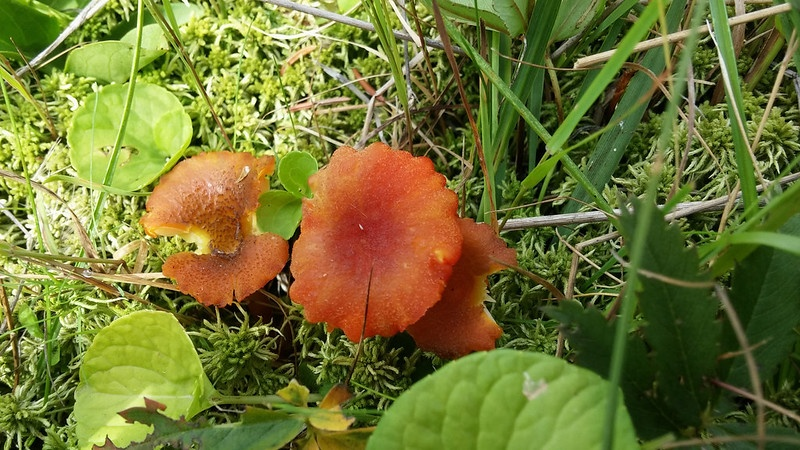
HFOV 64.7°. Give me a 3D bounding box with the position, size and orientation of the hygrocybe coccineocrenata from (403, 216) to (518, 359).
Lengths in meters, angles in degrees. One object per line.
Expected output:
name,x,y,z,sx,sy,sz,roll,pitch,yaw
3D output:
hygrocybe coccineocrenata,0.214,0.206,2.062,0.382,0.119,0.397,15,84,-10

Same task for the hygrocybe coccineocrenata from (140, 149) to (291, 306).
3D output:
hygrocybe coccineocrenata,-0.591,-0.015,2.214,0.606,0.214,0.526,21,87,25
